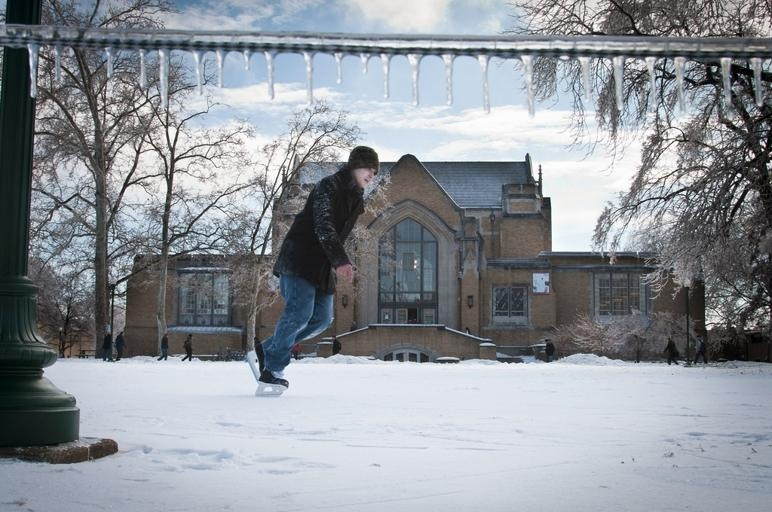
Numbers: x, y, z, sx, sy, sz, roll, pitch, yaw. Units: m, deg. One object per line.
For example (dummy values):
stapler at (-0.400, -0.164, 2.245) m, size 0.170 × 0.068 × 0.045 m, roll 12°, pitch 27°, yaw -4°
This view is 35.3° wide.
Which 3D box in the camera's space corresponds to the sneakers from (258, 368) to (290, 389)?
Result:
sneakers at (-1.891, 2.045, 20.400) m, size 0.604 × 0.255 × 0.221 m, roll 16°, pitch -14°, yaw -13°
